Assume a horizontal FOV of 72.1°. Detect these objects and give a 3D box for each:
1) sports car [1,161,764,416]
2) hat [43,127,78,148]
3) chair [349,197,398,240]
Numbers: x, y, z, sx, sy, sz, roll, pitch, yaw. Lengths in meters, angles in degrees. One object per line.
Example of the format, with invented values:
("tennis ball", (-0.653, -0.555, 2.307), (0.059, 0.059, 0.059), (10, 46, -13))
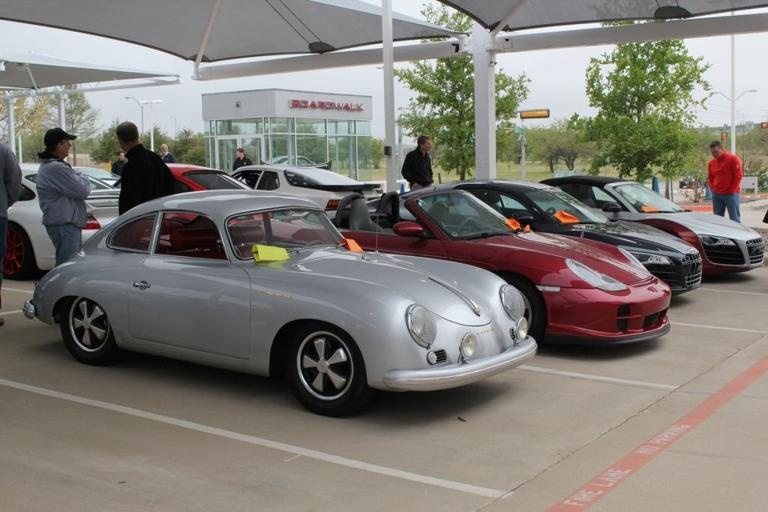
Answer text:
("sports car", (-0.975, 0.330, 5.042), (4.496, 1.802, 1.164), (4, 10, 23))
("hat", (-4.179, -1.484, 6.839), (0.315, 0.225, 0.484), (6, 17, 28))
("chair", (-0.085, -0.486, 7.372), (0.581, 0.596, 0.773), (5, -2, -34))
